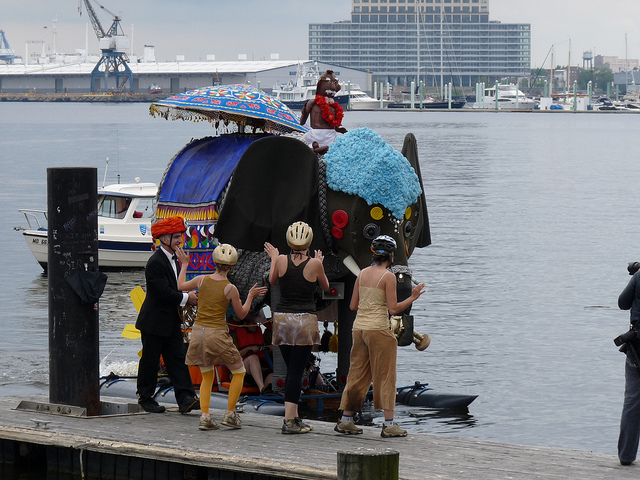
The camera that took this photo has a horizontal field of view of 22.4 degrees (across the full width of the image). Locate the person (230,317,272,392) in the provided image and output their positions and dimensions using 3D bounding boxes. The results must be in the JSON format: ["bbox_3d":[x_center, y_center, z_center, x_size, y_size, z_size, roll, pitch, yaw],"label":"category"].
[{"bbox_3d":[-1.102,1.832,25.537,0.691,1.536,1.217,-2,5,-4],"label":"person"}]

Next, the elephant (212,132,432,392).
[{"bbox_3d":[-0.559,0.027,25.892,3.976,3.686,3.244,4,6,40],"label":"elephant"}]

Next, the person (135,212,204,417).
[{"bbox_3d":[-2.394,1.174,24.431,1.102,2.991,1.030,1,12,-12],"label":"person"}]

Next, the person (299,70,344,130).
[{"bbox_3d":[-0.003,-2.262,25.951,0.655,0.960,0.550,-1,6,-2],"label":"person"}]

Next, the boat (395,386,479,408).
[{"bbox_3d":[1.883,2.685,26.781,1.289,0.358,0.388,0,6,4],"label":"boat"}]

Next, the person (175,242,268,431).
[{"bbox_3d":[-1.542,1.448,23.718,1.012,2.755,0.677,0,6,7],"label":"person"}]

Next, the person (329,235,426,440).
[{"bbox_3d":[0.811,1.403,23.689,1.019,3.056,1.159,0,0,27],"label":"person"}]

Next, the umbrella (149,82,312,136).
[{"bbox_3d":[-1.528,-2.061,26.563,2.445,0.917,2.075,-1,13,33],"label":"umbrella"}]
